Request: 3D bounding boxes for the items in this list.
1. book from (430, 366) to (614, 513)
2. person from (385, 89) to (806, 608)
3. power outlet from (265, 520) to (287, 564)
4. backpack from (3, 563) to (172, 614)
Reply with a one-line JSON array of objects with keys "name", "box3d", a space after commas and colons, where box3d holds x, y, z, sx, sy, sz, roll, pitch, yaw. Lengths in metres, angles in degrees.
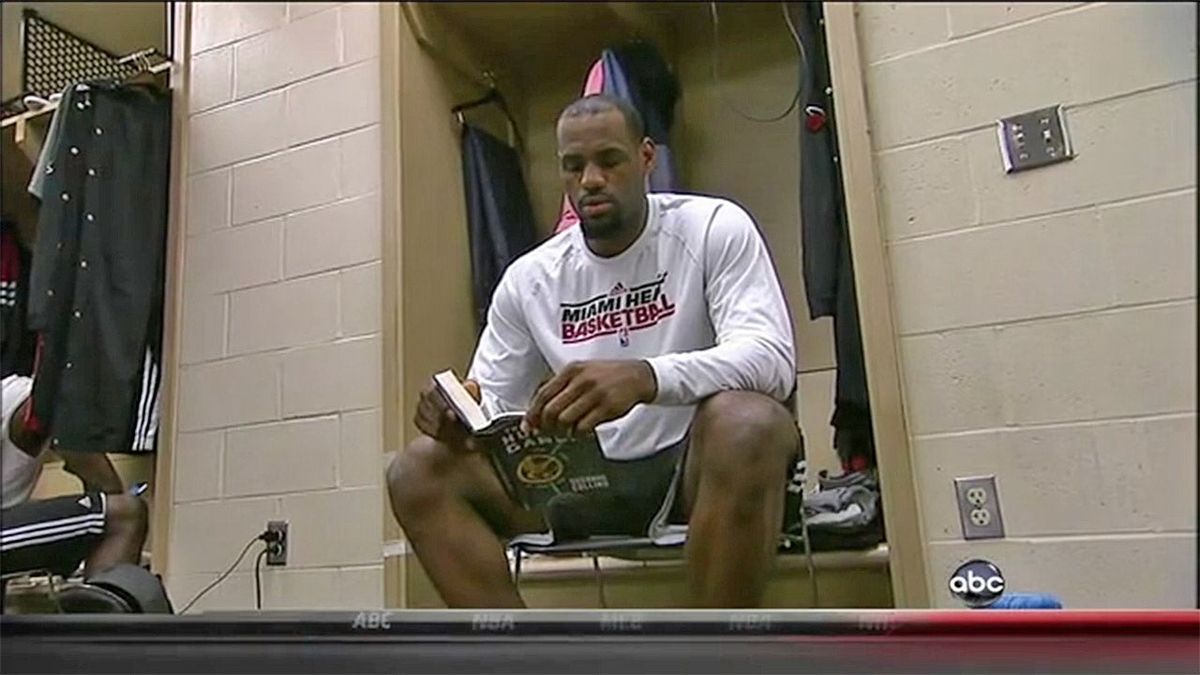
[{"name": "book", "box3d": [-0.132, 0.288, 2.397, 0.410, 0.087, 0.441, 23, -48, -15]}, {"name": "person", "box3d": [0.003, 0.105, 2.490, 1.079, 1.401, 0.885, -10, -14, 28]}, {"name": "power outlet", "box3d": [-1.014, 0.643, 2.940, 0.085, 0.124, 0.061, 0, -5, -4]}, {"name": "backpack", "box3d": [-1.384, 0.676, 2.535, 0.283, 0.096, 0.193, 4, -1, -5]}]
